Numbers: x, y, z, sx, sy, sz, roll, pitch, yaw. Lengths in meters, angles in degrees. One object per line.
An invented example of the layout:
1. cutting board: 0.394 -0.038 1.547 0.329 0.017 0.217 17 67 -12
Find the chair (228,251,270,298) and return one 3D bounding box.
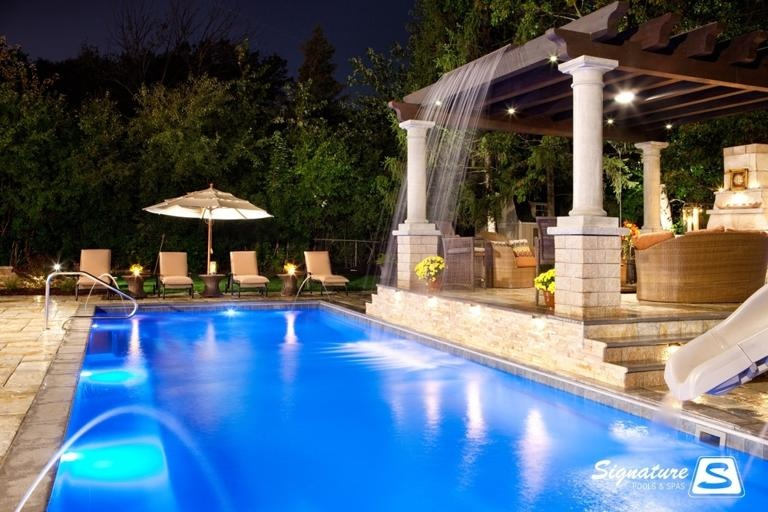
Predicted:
1. chair: -3.657 0.458 14.200 0.881 1.094 1.182 0 4 -35

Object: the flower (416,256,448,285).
1. flower: 0.927 0.271 10.387 0.509 0.513 0.515 -3 5 -18

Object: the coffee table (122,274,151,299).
1. coffee table: -6.512 0.780 13.782 0.615 0.478 0.635 -1 0 6

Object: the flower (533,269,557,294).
1. flower: 2.335 0.374 7.714 0.317 0.229 0.329 0 1 1

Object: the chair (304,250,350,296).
1. chair: -1.560 0.395 14.069 0.784 0.973 1.306 0 5 -33

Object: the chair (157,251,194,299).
1. chair: -5.380 0.467 13.685 0.843 1.135 1.290 1 1 -33

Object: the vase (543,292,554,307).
1. vase: 2.437 0.649 7.832 0.186 0.216 0.189 1 -3 -13

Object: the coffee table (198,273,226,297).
1. coffee table: -4.635 0.784 14.241 0.603 0.470 0.610 0 0 3

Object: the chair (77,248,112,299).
1. chair: -7.298 0.454 13.359 0.825 1.084 1.118 1 8 -30

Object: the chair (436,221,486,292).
1. chair: 1.787 0.059 11.536 1.184 1.753 1.166 0 0 44

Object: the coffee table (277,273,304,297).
1. coffee table: -2.696 0.822 14.999 0.769 0.588 0.783 0 2 -14

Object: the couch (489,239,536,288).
1. couch: 2.934 0.205 12.019 1.166 1.352 0.964 1 -2 -40

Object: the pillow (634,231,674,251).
1. pillow: 4.044 -0.244 8.075 0.371 0.174 0.357 -16 1 5
